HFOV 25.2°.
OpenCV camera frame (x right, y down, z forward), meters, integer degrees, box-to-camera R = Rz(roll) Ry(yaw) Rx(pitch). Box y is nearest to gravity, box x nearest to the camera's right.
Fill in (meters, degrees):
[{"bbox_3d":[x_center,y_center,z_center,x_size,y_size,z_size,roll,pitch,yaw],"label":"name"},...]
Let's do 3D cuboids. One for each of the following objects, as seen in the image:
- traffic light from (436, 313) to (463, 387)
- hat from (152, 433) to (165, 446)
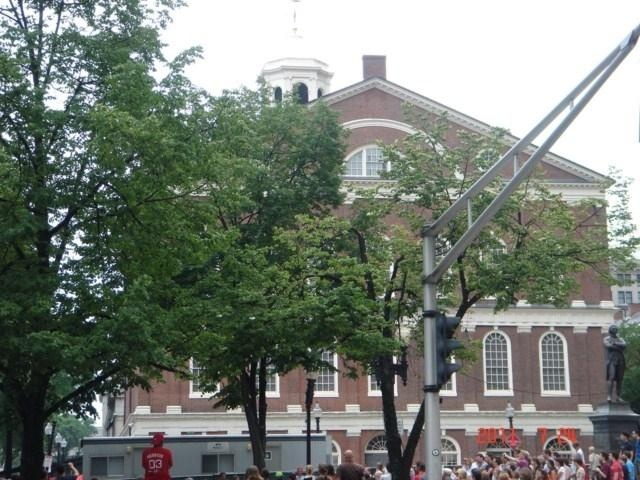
[{"bbox_3d":[3.649,3.183,40.930,0.741,2.118,1.000,-4,-13,4],"label":"traffic light"},{"bbox_3d":[-4.965,6.147,44.295,0.359,0.298,0.486,6,19,-3],"label":"hat"}]
